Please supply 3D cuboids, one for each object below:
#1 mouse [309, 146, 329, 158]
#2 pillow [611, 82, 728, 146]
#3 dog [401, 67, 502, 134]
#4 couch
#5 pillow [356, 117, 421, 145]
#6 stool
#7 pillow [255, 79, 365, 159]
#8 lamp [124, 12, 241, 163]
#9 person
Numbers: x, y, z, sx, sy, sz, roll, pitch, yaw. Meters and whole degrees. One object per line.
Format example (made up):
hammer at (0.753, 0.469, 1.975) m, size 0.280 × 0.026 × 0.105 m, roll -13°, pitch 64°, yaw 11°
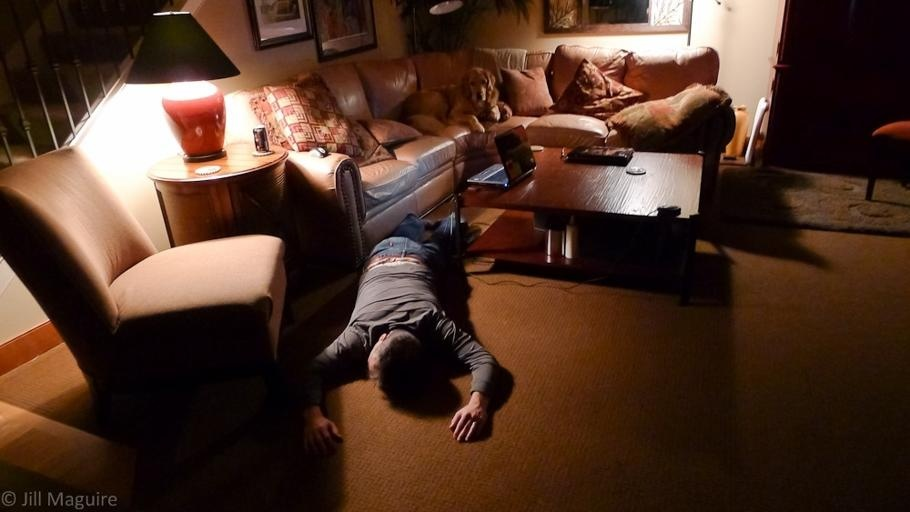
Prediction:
mouse at (-0.964, -0.756, 4.293) m, size 0.098 × 0.045 × 0.143 m, roll 11°, pitch 23°, yaw 13°
pillow at (1.726, -1.037, 4.855) m, size 0.650 × 0.226 × 0.646 m, roll 5°, pitch 40°, yaw 46°
dog at (0.000, -1.512, 5.675) m, size 1.020 × 0.523 × 0.863 m, roll 6°, pitch 27°, yaw 25°
couch at (0.307, -0.944, 4.956) m, size 2.667 × 0.905 × 2.809 m, roll 7°, pitch 39°, yaw 18°
pillow at (-0.525, -1.047, 4.960) m, size 0.314 × 0.097 × 0.330 m, roll -6°, pitch 32°, yaw -41°
stool at (-1.509, -0.412, 4.060) m, size 0.732 × 0.714 × 0.738 m, roll 27°, pitch 41°, yaw 34°
pillow at (-1.129, -1.015, 4.534) m, size 0.628 × 0.526 × 0.486 m, roll -19°, pitch 29°, yaw -29°
lamp at (-1.763, -1.098, 3.911) m, size 0.670 × 0.933 × 0.296 m, roll -13°, pitch 27°, yaw -19°
person at (-0.277, 0.278, 3.982) m, size 1.133 × 0.478 × 2.170 m, roll 1°, pitch 34°, yaw 4°
